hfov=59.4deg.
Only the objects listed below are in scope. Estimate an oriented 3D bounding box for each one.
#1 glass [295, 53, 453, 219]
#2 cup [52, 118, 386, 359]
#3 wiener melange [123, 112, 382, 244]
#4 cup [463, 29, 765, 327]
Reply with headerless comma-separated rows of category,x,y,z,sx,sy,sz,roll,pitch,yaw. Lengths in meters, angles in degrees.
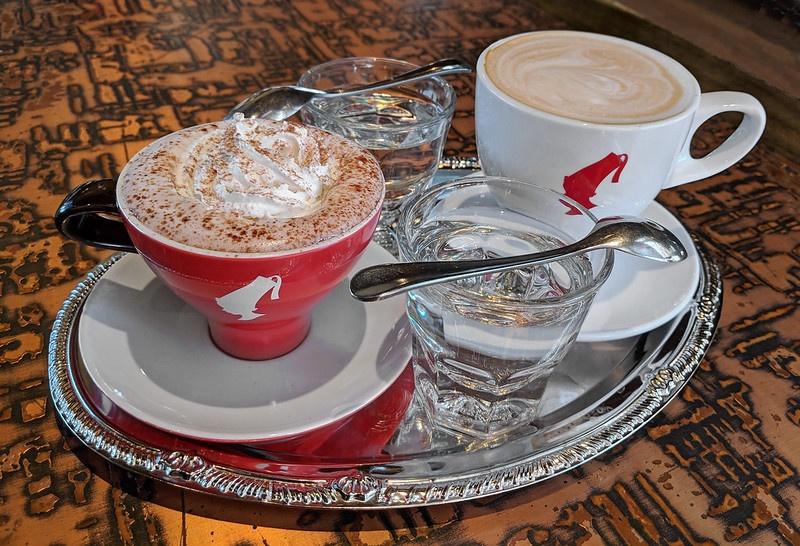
glass,-0.073,-0.201,1.158,0.286,0.286,0.210,-5,81,6
cup,-0.229,-0.021,0.875,0.459,0.236,0.324,-1,34,-25
wiener melange,-0.153,-0.094,0.790,0.212,0.073,0.203,-21,39,-37
cup,0.299,-0.206,1.008,0.403,0.189,0.247,-1,45,-6
